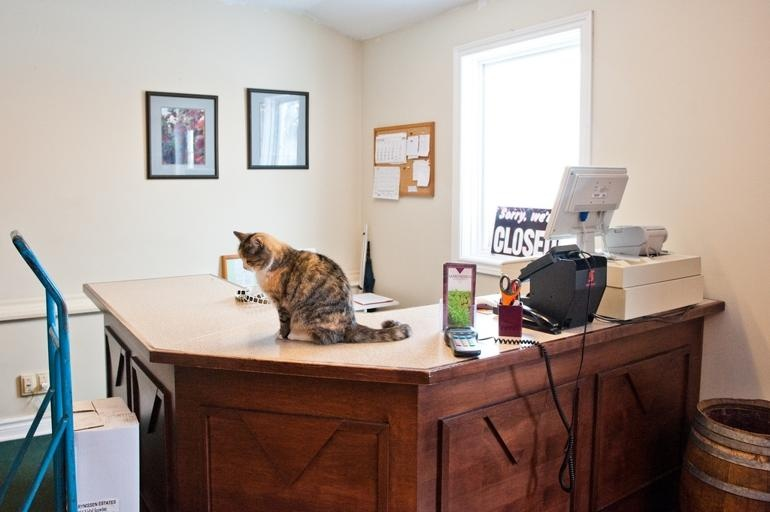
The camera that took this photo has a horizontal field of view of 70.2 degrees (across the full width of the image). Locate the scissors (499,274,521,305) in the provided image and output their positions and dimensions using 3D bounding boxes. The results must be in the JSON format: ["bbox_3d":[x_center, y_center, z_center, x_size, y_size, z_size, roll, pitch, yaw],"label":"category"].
[{"bbox_3d":[0.636,0.170,2.798,0.135,0.191,0.024,4,4,33],"label":"scissors"}]

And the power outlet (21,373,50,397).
[{"bbox_3d":[-2.655,0.968,4.148,0.191,0.187,0.055,-7,14,-23],"label":"power outlet"}]

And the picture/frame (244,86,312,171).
[{"bbox_3d":[-0.986,-1.158,4.891,0.733,0.861,0.059,-4,10,-33],"label":"picture/frame"}]

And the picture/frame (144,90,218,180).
[{"bbox_3d":[-1.705,-1.018,4.507,0.719,0.872,0.056,-4,7,-34],"label":"picture/frame"}]

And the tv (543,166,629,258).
[{"bbox_3d":[1.155,-0.279,3.142,0.548,0.487,0.117,-9,16,-31],"label":"tv"}]

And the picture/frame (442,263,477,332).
[{"bbox_3d":[0.363,0.210,2.738,0.166,0.355,0.033,0,12,1],"label":"picture/frame"}]

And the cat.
[{"bbox_3d":[-0.313,0.162,2.714,0.864,0.542,0.307,2,2,0],"label":"cat"}]

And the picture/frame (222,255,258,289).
[{"bbox_3d":[-0.988,0.112,3.697,0.216,0.209,0.076,0,4,-24],"label":"picture/frame"}]
